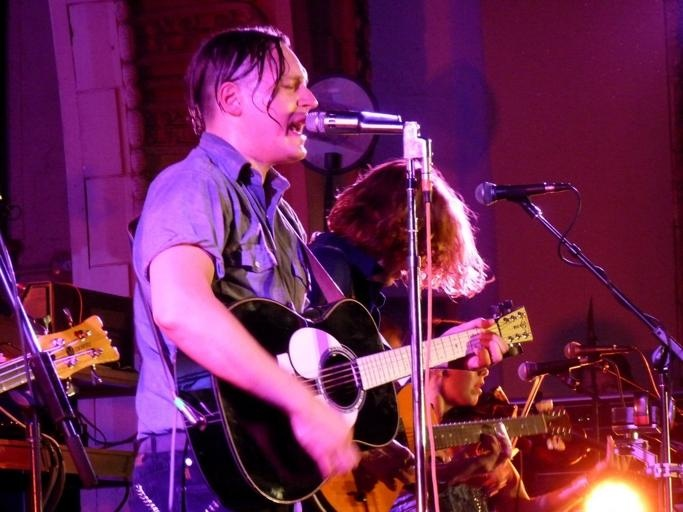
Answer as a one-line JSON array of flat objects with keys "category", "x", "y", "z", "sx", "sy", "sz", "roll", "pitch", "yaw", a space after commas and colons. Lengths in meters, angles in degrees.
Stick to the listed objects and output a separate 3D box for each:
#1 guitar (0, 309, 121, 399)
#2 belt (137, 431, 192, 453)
[{"category": "guitar", "x": -1.661, "y": 0.582, "z": 4.317, "sx": 0.645, "sy": 0.464, "sz": 0.309, "roll": 15, "pitch": -30, "yaw": -40}, {"category": "belt", "x": -0.728, "y": 0.753, "z": 2.984, "sx": 0.188, "sy": 0.112, "sz": 0.050, "roll": -5, "pitch": -7, "yaw": 35}]
